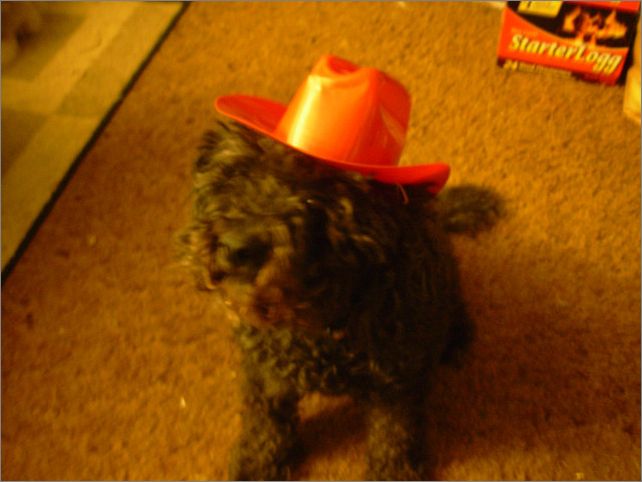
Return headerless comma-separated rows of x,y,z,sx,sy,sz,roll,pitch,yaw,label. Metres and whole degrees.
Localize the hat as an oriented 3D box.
0.001,-0.176,1.214,0.300,0.358,0.142,32,102,18,hat
